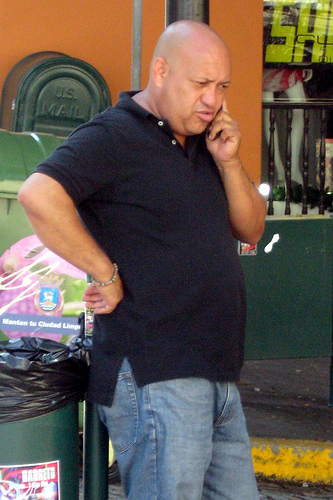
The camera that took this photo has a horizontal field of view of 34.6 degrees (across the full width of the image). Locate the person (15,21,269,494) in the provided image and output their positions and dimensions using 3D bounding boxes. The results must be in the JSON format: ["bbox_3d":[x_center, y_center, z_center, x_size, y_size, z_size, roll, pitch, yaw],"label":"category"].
[{"bbox_3d":[-0.023,0.056,1.543,0.817,1.449,0.347,-4,6,-37],"label":"person"}]

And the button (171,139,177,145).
[{"bbox_3d":[0.021,-0.308,1.507,0.013,0.011,0.003,5,-4,-16],"label":"button"}]

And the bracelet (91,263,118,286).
[{"bbox_3d":[-0.175,0.072,1.472,0.065,0.050,0.016,-21,25,-18],"label":"bracelet"}]

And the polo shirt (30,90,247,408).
[{"bbox_3d":[-0.057,-0.001,1.522,0.643,0.928,0.295,-3,5,-25],"label":"polo shirt"}]
